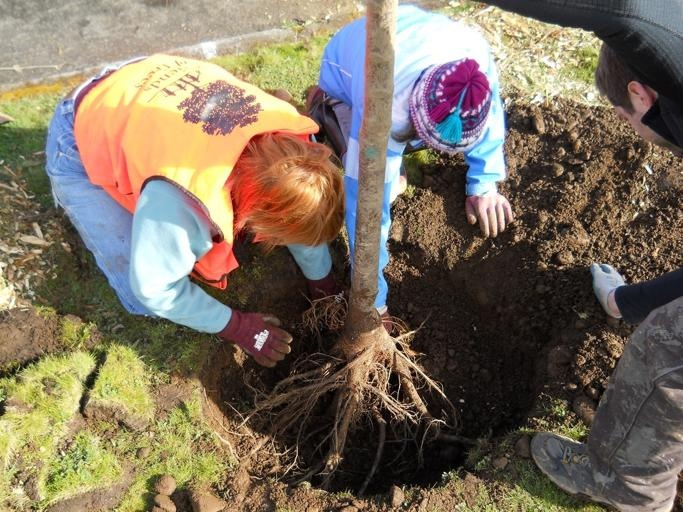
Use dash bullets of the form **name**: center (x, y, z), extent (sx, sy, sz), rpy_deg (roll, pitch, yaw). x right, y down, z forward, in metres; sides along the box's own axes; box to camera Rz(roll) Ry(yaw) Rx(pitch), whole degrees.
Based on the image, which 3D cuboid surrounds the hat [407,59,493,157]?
- **hat**: center (0.639, -0.918, 4.156), extent (0.419, 0.568, 0.280), rpy_deg (19, -1, -16)

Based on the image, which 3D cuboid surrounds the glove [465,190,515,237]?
- **glove**: center (1.085, -0.316, 4.888), extent (0.209, 0.187, 0.312), rpy_deg (-15, 34, -8)

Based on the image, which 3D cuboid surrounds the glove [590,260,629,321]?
- **glove**: center (1.815, 0.221, 4.603), extent (0.177, 0.128, 0.379), rpy_deg (-12, 47, 1)
